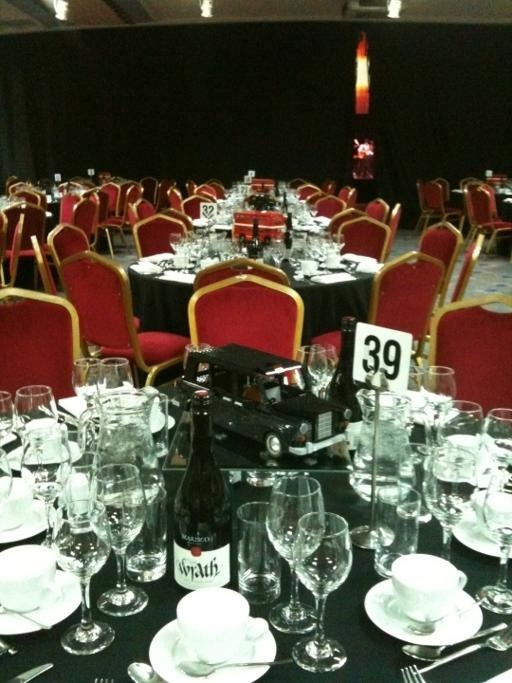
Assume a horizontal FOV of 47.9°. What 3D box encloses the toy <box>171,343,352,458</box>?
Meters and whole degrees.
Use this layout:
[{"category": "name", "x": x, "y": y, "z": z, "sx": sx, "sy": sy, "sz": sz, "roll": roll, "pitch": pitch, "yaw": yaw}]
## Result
[{"category": "toy", "x": -0.006, "y": 0.110, "z": 1.198, "sx": 0.326, "sy": 0.124, "sz": 0.185, "roll": 16, "pitch": 23, "yaw": 41}]
